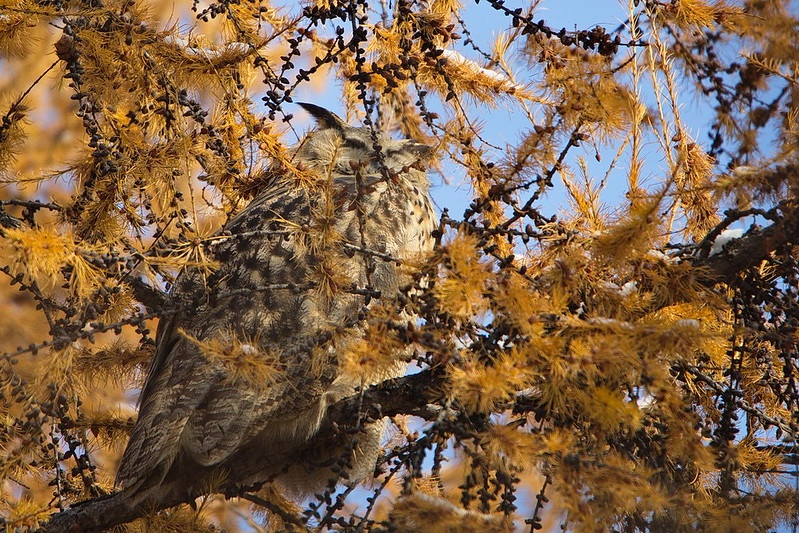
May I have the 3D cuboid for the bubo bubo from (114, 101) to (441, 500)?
[{"bbox_3d":[-0.443,0.143,7.902,1.285,1.707,0.822,1,-26,-17],"label":"bubo bubo"}]
